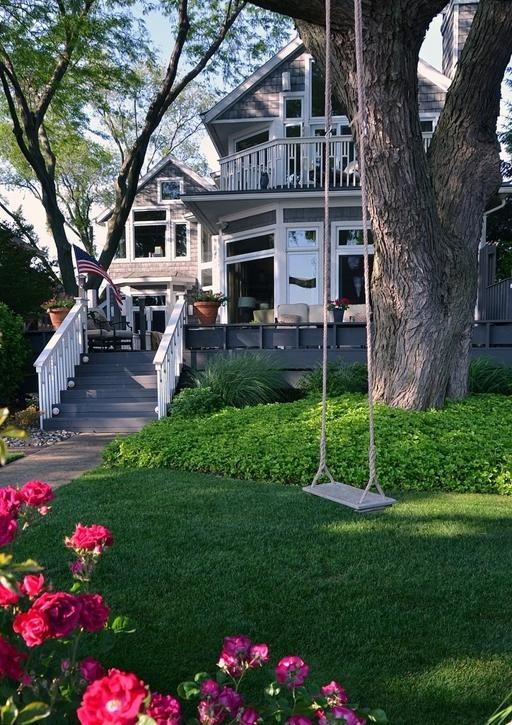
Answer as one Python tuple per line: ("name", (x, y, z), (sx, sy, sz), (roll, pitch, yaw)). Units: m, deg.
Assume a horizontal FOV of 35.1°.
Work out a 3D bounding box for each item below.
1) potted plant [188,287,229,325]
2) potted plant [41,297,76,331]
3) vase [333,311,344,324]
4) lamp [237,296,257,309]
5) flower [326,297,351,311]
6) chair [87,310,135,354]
("potted plant", (-0.825, -0.965, 13.777), (0.760, 0.807, 0.653), (0, -4, -5))
("potted plant", (-3.401, -0.919, 14.113), (0.741, 0.723, 0.734), (0, 1, -3))
("vase", (1.182, -0.679, 11.644), (0.202, 0.204, 0.195), (0, 1, 0))
("lamp", (-0.166, -1.150, 15.119), (0.262, 0.242, 0.409), (-7, 9, -36))
("flower", (1.149, -0.860, 11.708), (0.262, 0.150, 0.262), (1, 4, 37))
("chair", (-2.800, -0.587, 15.005), (0.924, 1.119, 0.833), (0, 0, 19))
